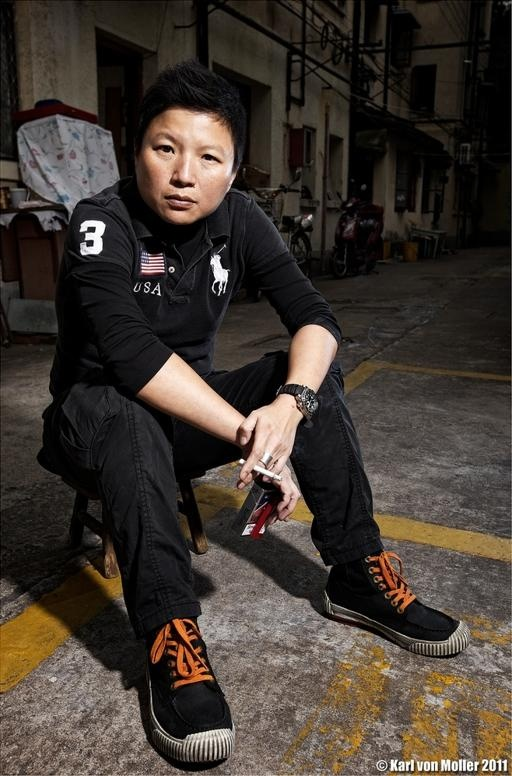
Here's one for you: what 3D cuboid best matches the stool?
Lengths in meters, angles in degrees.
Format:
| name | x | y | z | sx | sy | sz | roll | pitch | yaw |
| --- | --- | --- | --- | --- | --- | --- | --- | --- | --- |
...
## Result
| name | x | y | z | sx | sy | sz | roll | pitch | yaw |
| --- | --- | --- | --- | --- | --- | --- | --- | --- | --- |
| stool | -0.367 | 0.404 | 1.595 | 0.349 | 0.293 | 0.360 | -3 | 5 | -40 |

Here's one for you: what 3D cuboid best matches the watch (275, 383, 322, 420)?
| name | x | y | z | sx | sy | sz | roll | pitch | yaw |
| --- | --- | --- | --- | --- | --- | --- | --- | --- | --- |
| watch | 0.099 | 0.024 | 1.153 | 0.091 | 0.098 | 0.060 | 13 | 47 | 21 |

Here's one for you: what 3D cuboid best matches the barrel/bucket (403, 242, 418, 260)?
| name | x | y | z | sx | sy | sz | roll | pitch | yaw |
| --- | --- | --- | --- | --- | --- | --- | --- | --- | --- |
| barrel/bucket | 4.829 | -4.289 | 16.229 | 0.473 | 0.587 | 0.504 | -1 | 4 | 0 |

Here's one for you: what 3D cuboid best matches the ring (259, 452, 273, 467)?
| name | x | y | z | sx | sy | sz | roll | pitch | yaw |
| --- | --- | --- | --- | --- | --- | --- | --- | --- | --- |
| ring | 0.020 | 0.146 | 1.039 | 0.023 | 0.027 | 0.024 | 22 | -21 | 9 |

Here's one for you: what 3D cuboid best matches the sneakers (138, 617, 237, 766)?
| name | x | y | z | sx | sy | sz | roll | pitch | yaw |
| --- | --- | --- | --- | --- | --- | --- | --- | --- | --- |
| sneakers | -0.111 | 0.513 | 0.906 | 0.097 | 0.111 | 0.271 | 0 | -2 | -13 |

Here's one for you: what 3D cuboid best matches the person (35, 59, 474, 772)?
| name | x | y | z | sx | sy | sz | roll | pitch | yaw |
| --- | --- | --- | --- | --- | --- | --- | --- | --- | --- |
| person | -0.051 | -0.046 | 1.205 | 0.782 | 1.294 | 0.745 | -3 | 6 | -31 |
